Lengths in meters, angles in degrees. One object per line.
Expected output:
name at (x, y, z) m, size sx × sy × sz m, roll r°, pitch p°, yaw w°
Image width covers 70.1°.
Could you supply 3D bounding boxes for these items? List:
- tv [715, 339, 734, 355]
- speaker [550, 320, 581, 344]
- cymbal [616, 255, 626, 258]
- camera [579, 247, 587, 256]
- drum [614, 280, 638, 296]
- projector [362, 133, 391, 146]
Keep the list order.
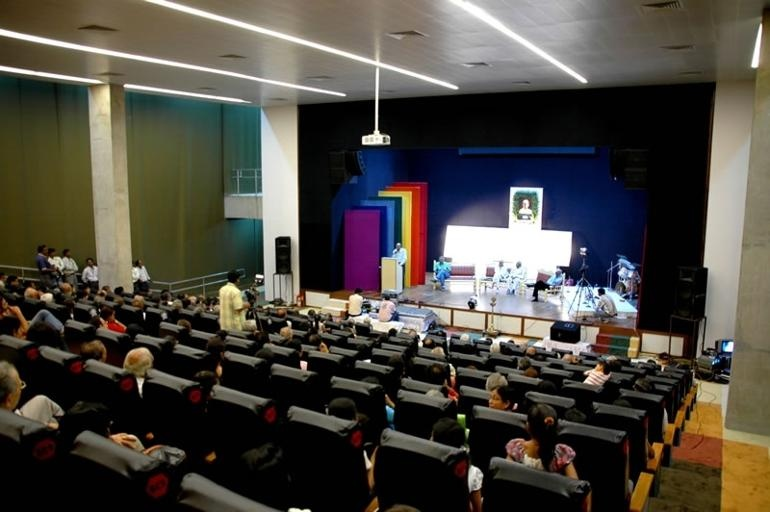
tv at (7.636, 2.043, 12.319) m, size 0.261 × 0.371 × 0.281 m, roll 5°, pitch 1°, yaw 21°
speaker at (4.648, 1.844, 13.891) m, size 0.660 × 0.461 × 0.490 m, roll 7°, pitch 15°, yaw 42°
cymbal at (8.364, 0.019, 19.399) m, size 0.231 × 0.090 × 0.249 m, roll 15°, pitch 16°, yaw 39°
camera at (7.219, -0.133, 19.923) m, size 0.348 × 0.272 × 0.340 m, roll -6°, pitch 8°, yaw -36°
drum at (8.084, 1.108, 18.250) m, size 0.606 × 0.517 × 0.462 m, roll -2°, pitch -1°, yaw -36°
projector at (-0.168, -2.504, 11.680) m, size 0.492 × 0.251 × 0.806 m, roll 5°, pitch 1°, yaw 4°
